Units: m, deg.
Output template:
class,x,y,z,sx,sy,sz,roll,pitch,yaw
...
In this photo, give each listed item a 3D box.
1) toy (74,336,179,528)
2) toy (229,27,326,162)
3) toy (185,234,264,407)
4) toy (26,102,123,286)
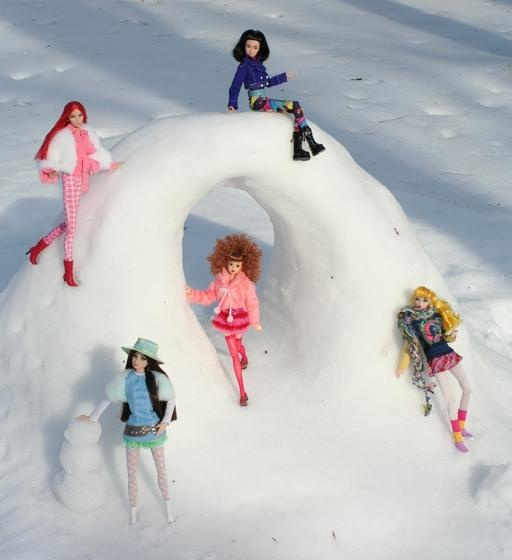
class,x,y,z,sx,sy,sz,roll,pitch,yaw
toy,-0.848,1.092,4.503,0.546,1.358,0.679,-15,37,-31
toy,0.114,-1.597,5.401,0.688,0.940,1.135,-9,32,-24
toy,-0.277,0.246,5.719,0.644,1.429,0.834,6,30,-1
toy,-1.556,-0.763,5.182,0.670,1.348,0.854,10,30,5
